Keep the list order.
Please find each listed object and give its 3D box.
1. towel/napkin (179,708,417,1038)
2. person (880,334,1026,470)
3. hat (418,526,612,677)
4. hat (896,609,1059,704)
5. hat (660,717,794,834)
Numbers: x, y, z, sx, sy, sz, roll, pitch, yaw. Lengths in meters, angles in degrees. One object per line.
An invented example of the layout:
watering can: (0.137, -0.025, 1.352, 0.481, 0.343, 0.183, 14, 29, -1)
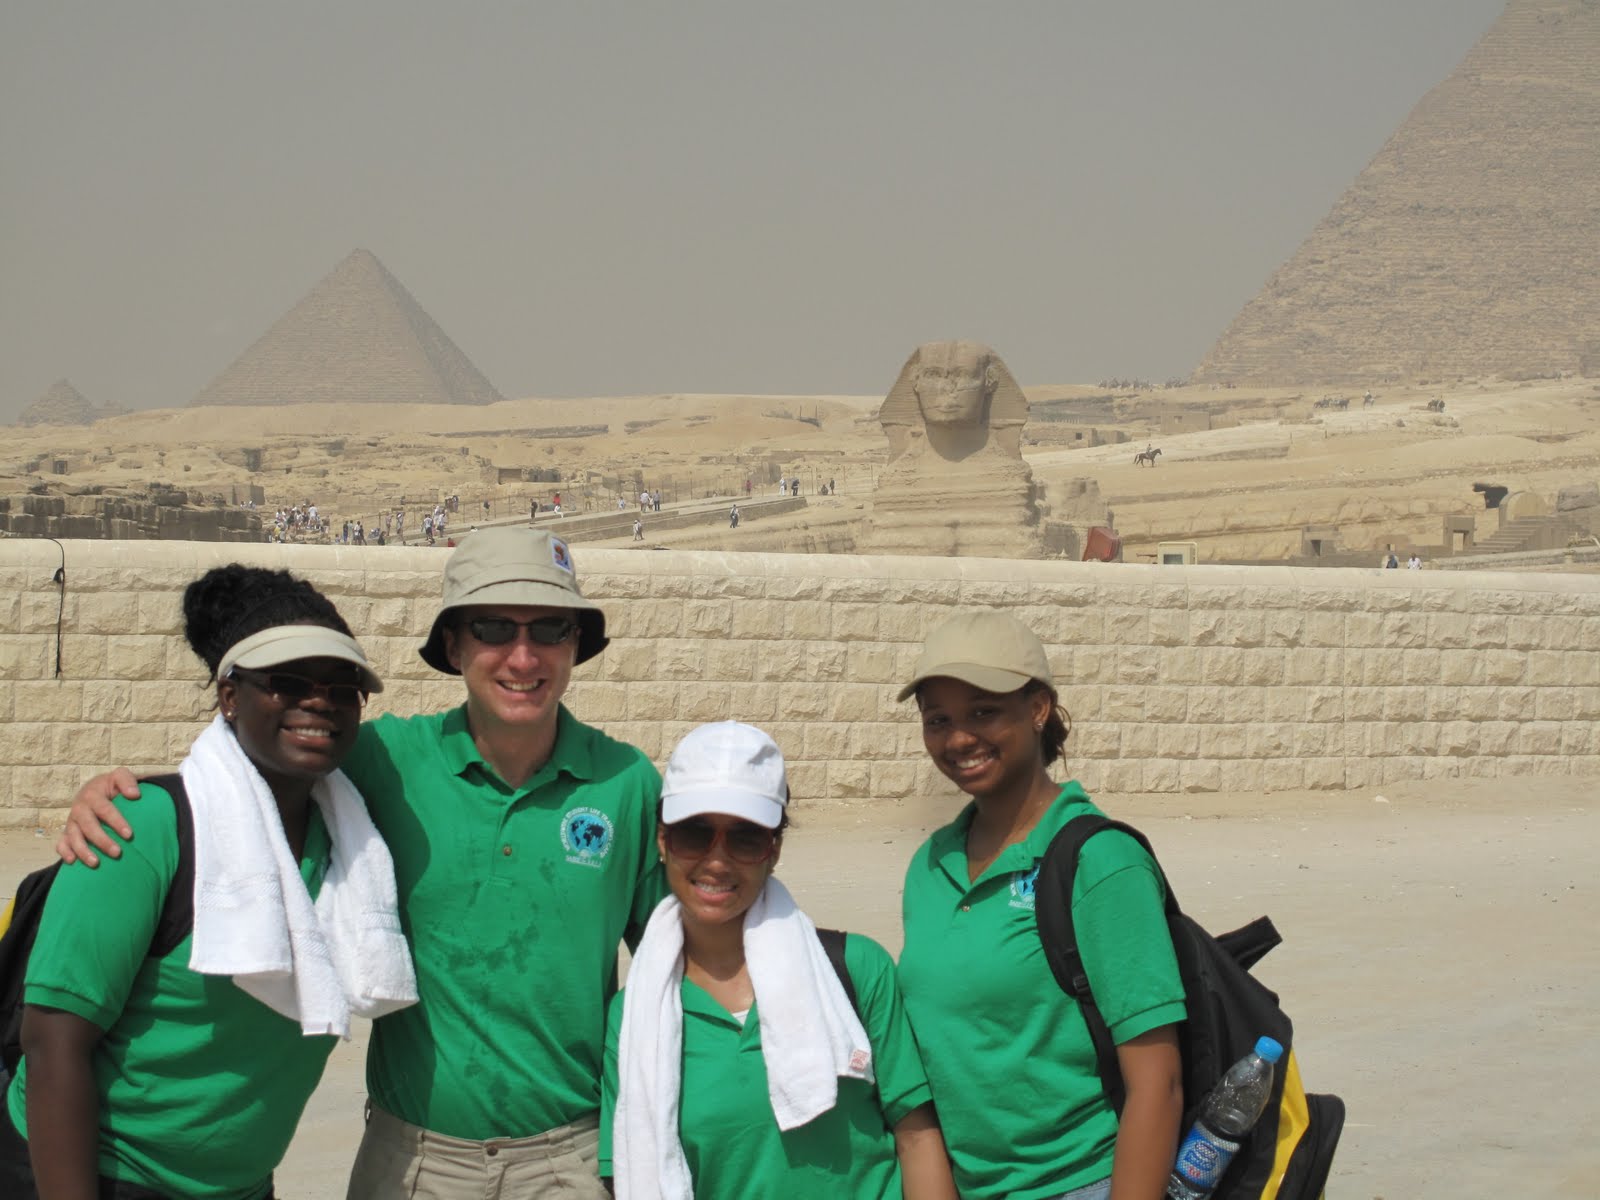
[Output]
towel/napkin: (-1.558, 0.813, 7.444, 0.700, 0.964, 0.289, 3, -26, -36)
person: (1.734, -2.238, 28.433, 1.898, 1.321, 0.898, 1, -2, 11)
hat: (-0.896, -0.017, 7.933, 0.604, 0.322, 0.669, -1, -16, -7)
hat: (0.539, 0.168, 7.908, 0.500, 0.280, 0.635, -2, -3, 29)
hat: (-0.244, 0.507, 7.670, 0.434, 0.258, 0.560, 5, 18, 8)
